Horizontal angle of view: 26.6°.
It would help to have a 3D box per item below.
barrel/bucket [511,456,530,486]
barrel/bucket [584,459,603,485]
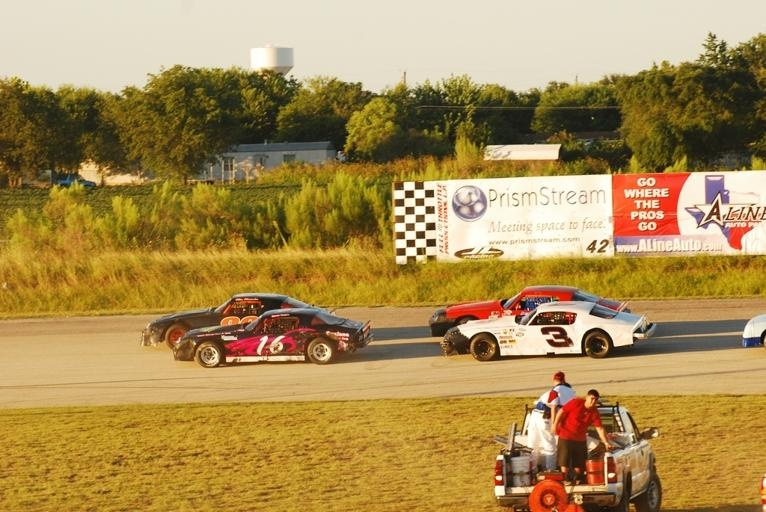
[{"bbox_3d":[4.482,7.048,52.717,0.754,0.886,0.788,-1,-4,0],"label":"barrel/bucket"},{"bbox_3d":[6.875,7.055,52.848,0.643,0.702,0.673,0,1,0],"label":"barrel/bucket"}]
